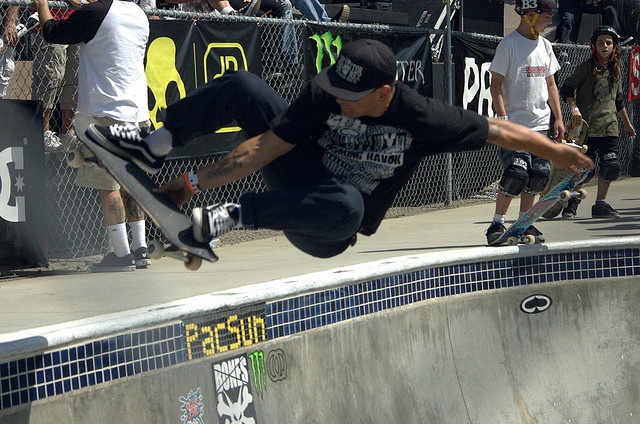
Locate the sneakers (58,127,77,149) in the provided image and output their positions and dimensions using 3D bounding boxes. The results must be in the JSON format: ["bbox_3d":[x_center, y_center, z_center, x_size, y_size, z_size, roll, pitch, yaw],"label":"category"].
[{"bbox_3d":[-2.593,-0.742,7.489,0.140,0.330,0.174,-4,11,-34],"label":"sneakers"}]

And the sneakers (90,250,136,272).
[{"bbox_3d":[-2.077,0.504,7.339,0.382,0.182,0.187,3,-2,7],"label":"sneakers"}]

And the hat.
[{"bbox_3d":[0.273,-0.980,5.390,0.560,0.235,0.391,-23,53,-34],"label":"hat"}]

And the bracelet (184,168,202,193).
[{"bbox_3d":[-0.964,-0.224,5.579,0.100,0.173,0.167,-23,19,-4],"label":"bracelet"}]

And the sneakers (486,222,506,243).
[{"bbox_3d":[1.909,0.226,7.964,0.114,0.133,0.305,8,34,32],"label":"sneakers"}]

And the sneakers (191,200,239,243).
[{"bbox_3d":[-0.755,0.083,5.453,0.465,0.179,0.192,-13,12,-43],"label":"sneakers"}]

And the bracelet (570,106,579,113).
[{"bbox_3d":[3.155,-1.260,9.012,0.063,0.050,0.088,-4,16,8],"label":"bracelet"}]

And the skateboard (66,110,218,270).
[{"bbox_3d":[-1.655,-0.163,6.443,1.738,0.261,0.439,55,28,14],"label":"skateboard"}]

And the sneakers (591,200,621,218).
[{"bbox_3d":[3.806,-0.015,9.623,0.439,0.282,0.171,0,4,6],"label":"sneakers"}]

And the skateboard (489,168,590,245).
[{"bbox_3d":[2.477,-0.029,8.177,0.152,1.078,0.227,51,7,31],"label":"skateboard"}]

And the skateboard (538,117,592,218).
[{"bbox_3d":[2.600,-0.464,7.748,0.336,1.333,0.179,5,9,-25],"label":"skateboard"}]

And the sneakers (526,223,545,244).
[{"bbox_3d":[2.312,0.243,7.854,0.180,0.094,0.249,17,11,-44],"label":"sneakers"}]

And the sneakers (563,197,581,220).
[{"bbox_3d":[3.115,-0.030,9.036,0.133,0.190,0.350,9,29,22],"label":"sneakers"}]
